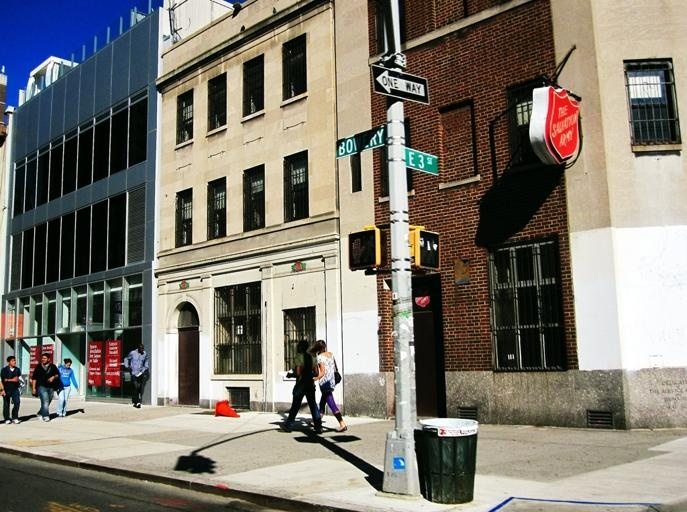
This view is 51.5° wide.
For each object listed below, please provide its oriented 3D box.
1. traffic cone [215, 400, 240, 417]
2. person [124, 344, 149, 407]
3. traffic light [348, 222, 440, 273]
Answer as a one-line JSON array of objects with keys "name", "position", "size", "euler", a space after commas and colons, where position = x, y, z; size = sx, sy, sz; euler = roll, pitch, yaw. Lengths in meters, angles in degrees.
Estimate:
[{"name": "traffic cone", "position": [-3.590, 4.696, 21.843], "size": [0.877, 0.533, 0.419], "euler": [-9, -15, 27]}, {"name": "person", "position": [-7.642, 4.437, 26.411], "size": [0.646, 2.339, 0.994], "euler": [-7, -13, 22]}, {"name": "traffic light", "position": [0.911, -0.119, 12.766], "size": [1.078, 0.761, 0.478], "euler": [-1, -5, 16]}]
